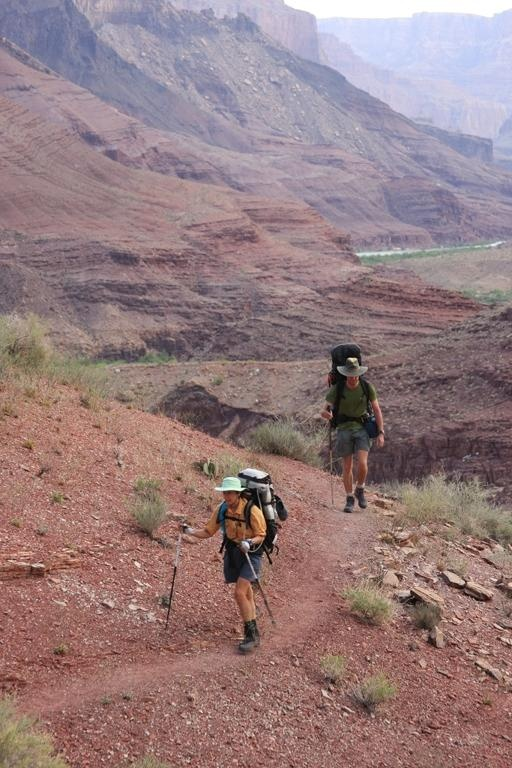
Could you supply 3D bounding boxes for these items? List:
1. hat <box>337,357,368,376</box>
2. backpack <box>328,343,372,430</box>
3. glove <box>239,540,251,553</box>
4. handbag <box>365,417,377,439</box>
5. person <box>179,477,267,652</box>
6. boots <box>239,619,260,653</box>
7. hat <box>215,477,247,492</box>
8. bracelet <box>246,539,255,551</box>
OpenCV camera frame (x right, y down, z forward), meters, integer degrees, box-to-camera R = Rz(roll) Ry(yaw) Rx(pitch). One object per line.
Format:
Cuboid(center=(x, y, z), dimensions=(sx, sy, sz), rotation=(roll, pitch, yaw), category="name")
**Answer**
Cuboid(center=(1.045, -0.170, 7.408), dimensions=(0.363, 0.238, 0.283), rotation=(11, 9, 21), category="hat")
Cuboid(center=(1.073, 0.006, 7.652), dimensions=(0.504, 0.942, 0.360), rotation=(2, 11, -1), category="backpack")
Cuboid(center=(-0.071, 1.091, 4.537), dimensions=(0.056, 0.078, 0.074), rotation=(-11, 8, -2), category="glove")
Cuboid(center=(1.308, 0.489, 7.623), dimensions=(0.134, 0.257, 0.175), rotation=(-12, 14, -5), category="handbag")
Cuboid(center=(-0.148, 1.205, 4.801), dimensions=(0.670, 1.090, 0.447), rotation=(13, 11, 34), category="person")
Cuboid(center=(-0.044, 1.731, 4.610), dimensions=(0.096, 0.189, 0.233), rotation=(-6, -7, 23), category="boots")
Cuboid(center=(-0.165, 0.706, 4.741), dimensions=(0.145, 0.066, 0.167), rotation=(0, -5, 9), category="hat")
Cuboid(center=(-0.036, 1.092, 4.588), dimensions=(0.052, 0.068, 0.026), rotation=(-5, -15, -30), category="bracelet")
